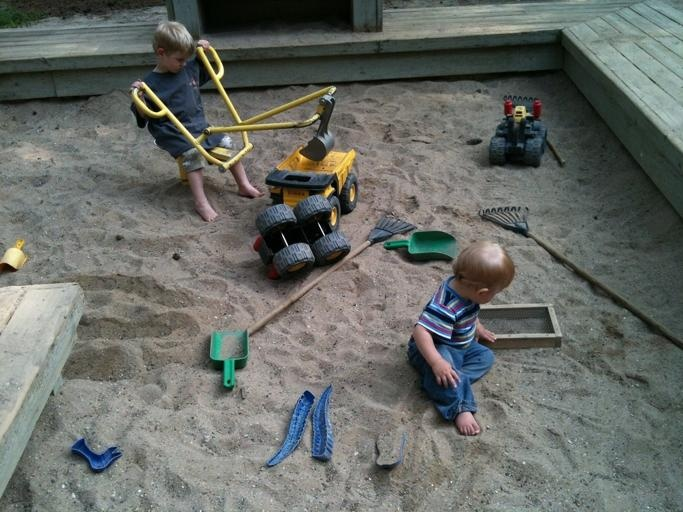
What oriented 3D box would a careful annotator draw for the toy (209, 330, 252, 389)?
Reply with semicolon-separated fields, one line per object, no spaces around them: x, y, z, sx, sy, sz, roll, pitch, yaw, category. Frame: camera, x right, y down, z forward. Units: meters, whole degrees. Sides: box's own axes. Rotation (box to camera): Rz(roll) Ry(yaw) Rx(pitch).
-0.701;0.641;3.767;0.216;0.077;0.356;0;40;-9;toy

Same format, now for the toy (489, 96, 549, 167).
1.618;-1.205;5.541;0.448;0.381;0.713;8;42;19;toy

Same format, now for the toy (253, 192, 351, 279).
-0.294;-0.119;4.294;0.731;0.353;0.515;-14;65;-21;toy

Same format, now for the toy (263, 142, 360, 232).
-0.214;-0.543;4.786;0.528;0.450;0.807;9;35;20;toy

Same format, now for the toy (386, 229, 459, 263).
0.589;-0.073;4.487;0.489;0.086;0.229;-4;37;6;toy
